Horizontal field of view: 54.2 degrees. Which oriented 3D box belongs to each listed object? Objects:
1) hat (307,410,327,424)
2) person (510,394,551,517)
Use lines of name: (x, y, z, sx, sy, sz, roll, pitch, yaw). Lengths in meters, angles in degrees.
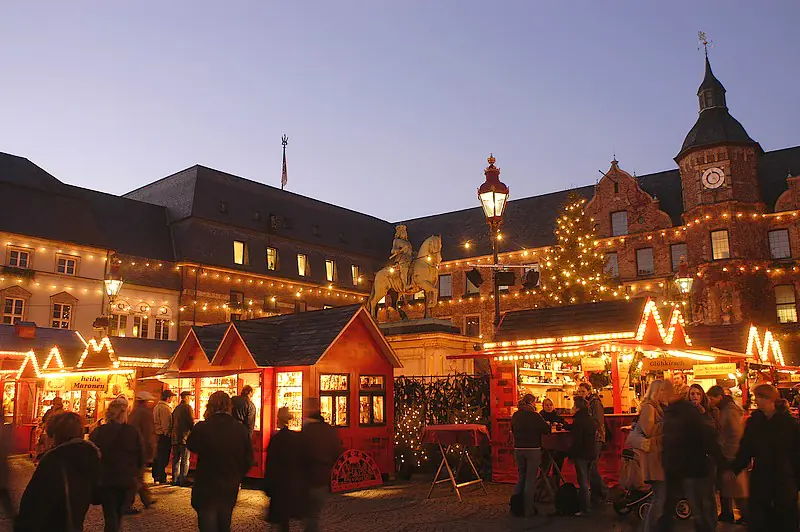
hat: (-1.572, 2.930, 14.987, 0.282, 0.170, 0.279, 15, -21, -33)
person: (2.962, 4.317, 17.895, 0.785, 2.726, 0.743, 1, -12, -5)
